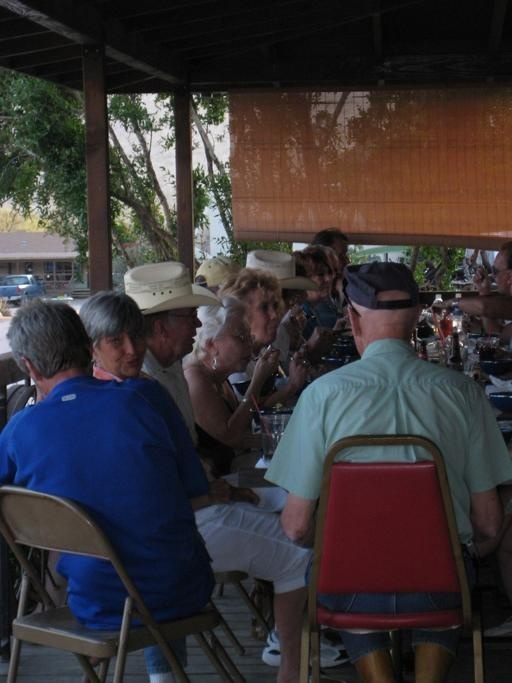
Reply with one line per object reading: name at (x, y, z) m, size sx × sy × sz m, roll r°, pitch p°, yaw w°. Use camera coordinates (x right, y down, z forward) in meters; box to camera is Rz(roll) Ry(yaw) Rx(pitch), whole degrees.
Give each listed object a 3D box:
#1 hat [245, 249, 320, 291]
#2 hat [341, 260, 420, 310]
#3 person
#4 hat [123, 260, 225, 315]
hat at (0.135, -0.465, 3.828) m, size 0.345 × 0.113 × 0.281 m, roll 16°, pitch 12°, yaw 24°
hat at (0.251, -0.114, 1.311) m, size 0.168 × 0.070 × 0.195 m, roll 6°, pitch 17°, yaw 0°
person at (0.154, 0.179, 1.554) m, size 0.709 × 1.189 × 0.653 m, roll -1°, pitch -3°, yaw 14°
hat at (-0.345, -0.203, 2.390) m, size 0.392 × 0.128 × 0.337 m, roll -8°, pitch 24°, yaw 4°
